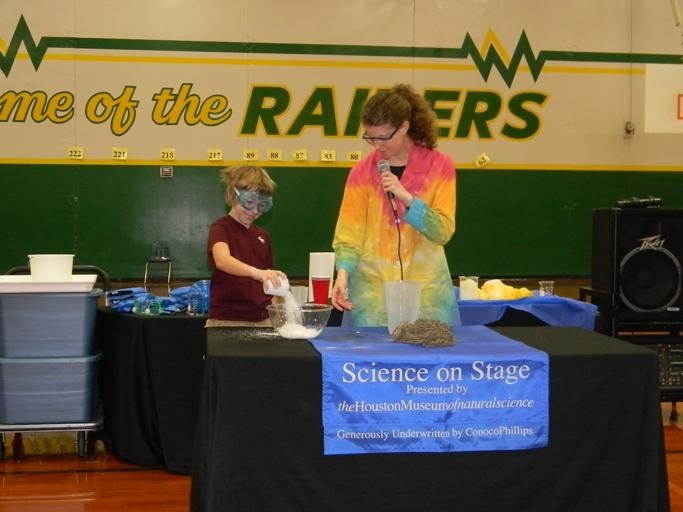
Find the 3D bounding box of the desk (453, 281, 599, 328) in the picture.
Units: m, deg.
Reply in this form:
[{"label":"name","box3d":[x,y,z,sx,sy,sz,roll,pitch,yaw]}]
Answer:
[{"label":"desk","box3d":[1.239,0.371,5.272,0.917,0.195,0.275,-1,11,8]}]

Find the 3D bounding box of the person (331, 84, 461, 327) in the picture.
[{"label":"person","box3d":[0.256,-0.097,4.418,0.781,1.644,0.606,-10,24,-19]}]

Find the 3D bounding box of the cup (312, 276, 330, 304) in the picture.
[{"label":"cup","box3d":[-0.107,0.185,4.232,0.120,0.134,0.120,0,2,0]}]

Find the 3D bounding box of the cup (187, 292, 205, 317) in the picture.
[{"label":"cup","box3d":[-0.925,0.314,5.029,0.119,0.132,0.116,0,1,0]}]

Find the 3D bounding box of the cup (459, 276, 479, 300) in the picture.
[{"label":"cup","box3d":[0.911,0.222,5.562,0.143,0.157,0.145,1,1,0]}]

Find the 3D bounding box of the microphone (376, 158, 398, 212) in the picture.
[{"label":"microphone","box3d":[0.248,-0.365,4.231,0.102,0.287,0.263,-2,11,0]}]

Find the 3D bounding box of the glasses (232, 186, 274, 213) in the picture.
[{"label":"glasses","box3d":[-0.491,-0.328,4.650,0.133,0.150,0.256,6,14,37]}]

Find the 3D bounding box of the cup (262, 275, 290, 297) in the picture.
[{"label":"cup","box3d":[-0.330,0.165,4.010,0.119,0.079,0.126,2,-21,1]}]

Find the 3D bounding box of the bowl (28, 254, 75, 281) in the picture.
[{"label":"bowl","box3d":[-1.824,0.071,4.865,0.187,0.117,0.201,-1,-3,0]}]

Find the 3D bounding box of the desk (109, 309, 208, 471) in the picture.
[{"label":"desk","box3d":[-1.159,0.817,5.255,0.843,0.950,0.849,0,8,-9]}]

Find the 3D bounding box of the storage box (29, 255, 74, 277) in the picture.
[{"label":"storage box","box3d":[-1.801,0.061,4.887,0.247,0.174,0.134,-7,12,-25]}]
